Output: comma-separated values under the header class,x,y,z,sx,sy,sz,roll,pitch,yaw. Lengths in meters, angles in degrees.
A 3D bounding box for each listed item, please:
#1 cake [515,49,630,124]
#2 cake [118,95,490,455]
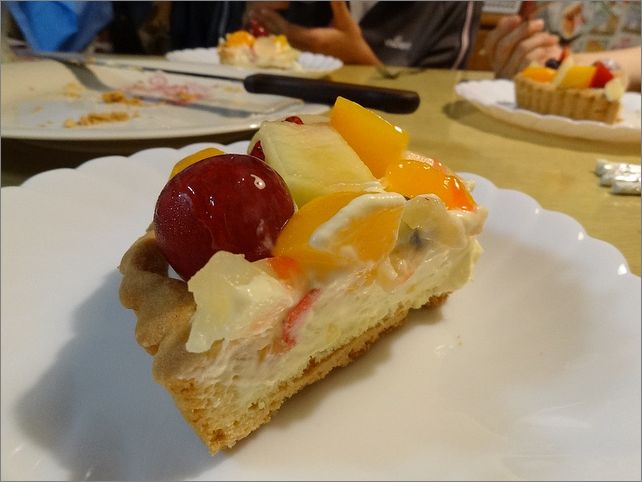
class,x,y,z,sx,sy,sz,roll,pitch,yaw
cake,1.231,-0.749,2.980,0.454,0.234,0.344,12,38,28
cake,-0.070,0.031,1.768,1.001,0.751,0.514,-17,40,-26
